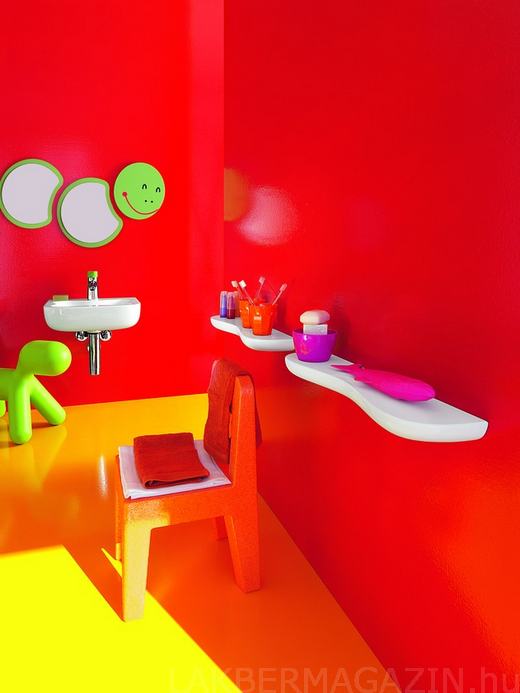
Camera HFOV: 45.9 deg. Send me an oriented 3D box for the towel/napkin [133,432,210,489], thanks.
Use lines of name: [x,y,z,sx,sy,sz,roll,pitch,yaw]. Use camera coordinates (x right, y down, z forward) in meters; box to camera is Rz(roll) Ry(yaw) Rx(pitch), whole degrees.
towel/napkin: [-0.273,0.338,1.839,0.192,0.062,0.253,-2,23,-13]

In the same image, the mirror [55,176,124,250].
mirror: [-0.947,-0.764,3.448,0.339,0.367,0.087,-10,16,-24]

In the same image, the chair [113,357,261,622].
chair: [-0.243,0.370,1.861,0.477,0.610,0.472,-5,15,-13]
